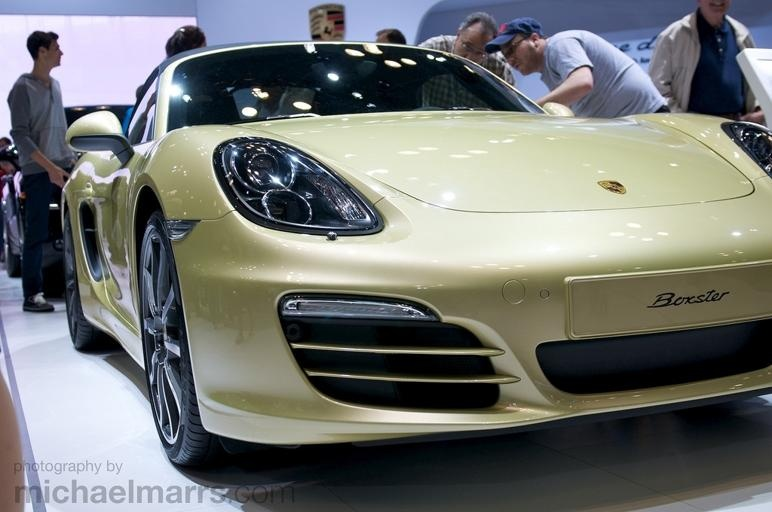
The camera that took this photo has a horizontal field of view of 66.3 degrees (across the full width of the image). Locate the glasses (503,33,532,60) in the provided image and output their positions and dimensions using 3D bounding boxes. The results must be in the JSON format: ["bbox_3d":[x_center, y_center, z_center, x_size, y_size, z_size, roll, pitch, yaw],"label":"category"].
[{"bbox_3d":[0.792,-1.257,3.563,0.155,0.043,0.115,-29,3,-37],"label":"glasses"}]

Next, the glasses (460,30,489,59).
[{"bbox_3d":[0.727,-1.731,4.872,0.167,0.195,0.197,2,2,-1],"label":"glasses"}]

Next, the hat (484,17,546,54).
[{"bbox_3d":[0.783,-1.345,3.607,0.316,0.143,0.200,-13,3,-3],"label":"hat"}]

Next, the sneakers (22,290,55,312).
[{"bbox_3d":[-2.703,0.369,4.609,0.324,0.136,0.127,-1,-1,41],"label":"sneakers"}]
